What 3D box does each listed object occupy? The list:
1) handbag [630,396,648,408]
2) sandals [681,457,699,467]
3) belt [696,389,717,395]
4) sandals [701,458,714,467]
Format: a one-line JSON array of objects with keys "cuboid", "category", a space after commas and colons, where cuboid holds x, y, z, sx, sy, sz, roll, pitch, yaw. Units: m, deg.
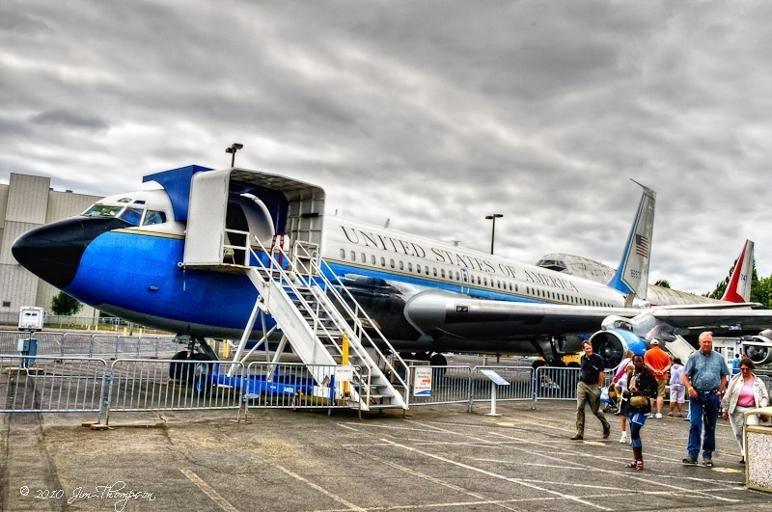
[{"cuboid": [4.920, 2.840, 12.940, 0.362, 0.193, 0.264, -8, -7, 39], "category": "handbag"}, {"cuboid": [6.116, 4.156, 13.312, 0.292, 0.102, 0.224, 4, -2, 15], "category": "sandals"}, {"cuboid": [6.457, 2.766, 13.310, 0.380, 0.104, 0.054, 4, -2, 4], "category": "belt"}, {"cuboid": [6.489, 4.200, 13.367, 0.131, 0.102, 0.289, -1, -11, 7], "category": "sandals"}]
